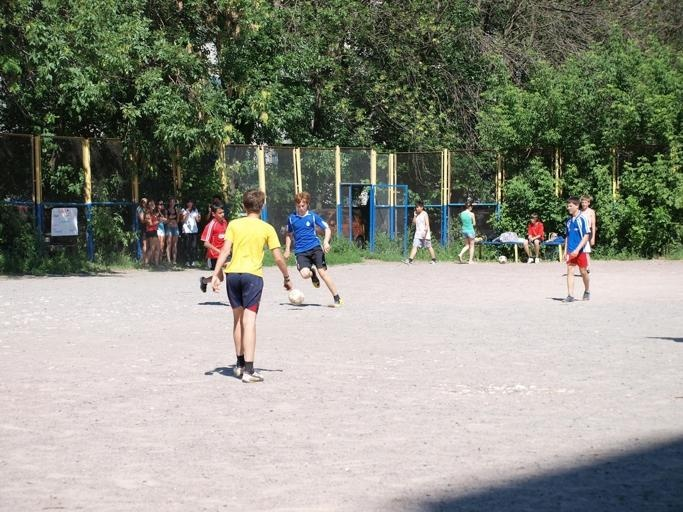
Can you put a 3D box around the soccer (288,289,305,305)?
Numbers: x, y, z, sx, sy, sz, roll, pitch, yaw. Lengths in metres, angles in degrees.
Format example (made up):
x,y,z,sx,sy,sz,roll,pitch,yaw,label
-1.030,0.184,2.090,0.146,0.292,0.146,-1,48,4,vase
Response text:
x,y,z,sx,sy,sz,roll,pitch,yaw,label
-0.857,0.779,19.497,0.375,0.250,0.369,8,-16,-10,soccer

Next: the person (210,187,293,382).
x,y,z,sx,sy,sz,roll,pitch,yaw,label
-1.256,0.357,13.305,0.722,2.478,0.758,-1,1,14,person

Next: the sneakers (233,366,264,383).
x,y,z,sx,sy,sz,roll,pitch,yaw,label
-1.224,1.527,13.077,0.435,0.179,0.156,7,14,-23,sneakers

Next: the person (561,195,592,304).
x,y,z,sx,sy,sz,roll,pitch,yaw,label
4.691,-0.146,20.088,0.469,2.031,0.743,-1,1,14,person

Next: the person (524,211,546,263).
x,y,z,sx,sy,sz,roll,pitch,yaw,label
6.019,-0.575,31.631,0.598,1.499,0.872,-1,1,10,person

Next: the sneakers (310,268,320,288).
x,y,z,sx,sy,sz,roll,pitch,yaw,label
-0.506,0.431,19.507,0.150,0.432,0.184,-13,1,2,sneakers

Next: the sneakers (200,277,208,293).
x,y,z,sx,sy,sz,roll,pitch,yaw,label
-2.676,0.553,19.836,0.184,0.372,0.136,-4,-6,8,sneakers

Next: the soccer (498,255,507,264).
x,y,z,sx,sy,sz,roll,pitch,yaw,label
5.085,0.079,31.644,0.255,0.252,0.251,5,-13,-9,soccer

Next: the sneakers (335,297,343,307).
x,y,z,sx,sy,sz,roll,pitch,yaw,label
-0.035,0.850,19.163,0.154,0.201,0.456,-1,-5,6,sneakers
